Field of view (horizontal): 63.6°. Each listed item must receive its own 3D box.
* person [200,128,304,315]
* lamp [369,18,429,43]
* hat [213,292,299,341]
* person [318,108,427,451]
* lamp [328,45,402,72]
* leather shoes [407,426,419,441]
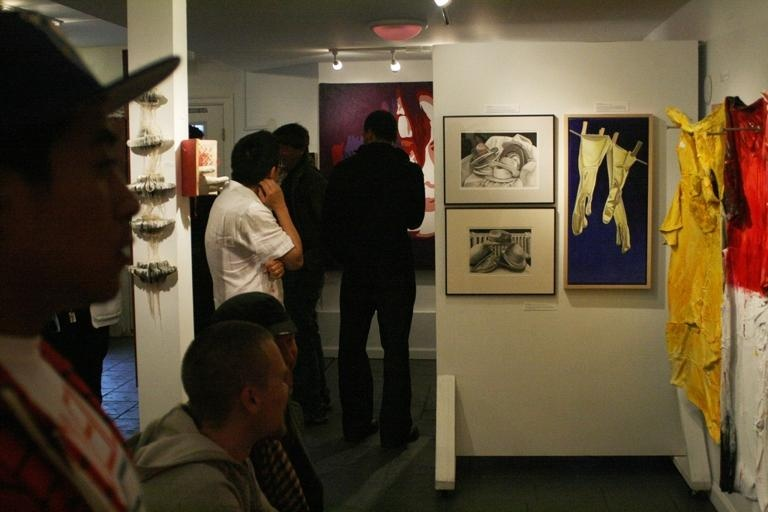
[{"bbox_3d":[-0.668,-0.190,3.216,0.471,0.914,0.406,-4,6,-30],"label":"person"},{"bbox_3d":[0.119,-1.774,4.843,0.416,0.088,0.296,4,8,31],"label":"lamp"},{"bbox_3d":[-0.437,0.199,2.203,0.299,0.159,0.225,1,-11,20],"label":"hat"},{"bbox_3d":[-0.070,0.149,4.094,0.645,2.177,0.325,-1,5,-6],"label":"person"},{"bbox_3d":[-0.186,-1.844,5.934,0.691,0.199,0.550,-1,7,1],"label":"lamp"},{"bbox_3d":[0.207,1.201,4.208,0.040,0.089,0.122,-2,-5,10],"label":"leather shoes"}]
